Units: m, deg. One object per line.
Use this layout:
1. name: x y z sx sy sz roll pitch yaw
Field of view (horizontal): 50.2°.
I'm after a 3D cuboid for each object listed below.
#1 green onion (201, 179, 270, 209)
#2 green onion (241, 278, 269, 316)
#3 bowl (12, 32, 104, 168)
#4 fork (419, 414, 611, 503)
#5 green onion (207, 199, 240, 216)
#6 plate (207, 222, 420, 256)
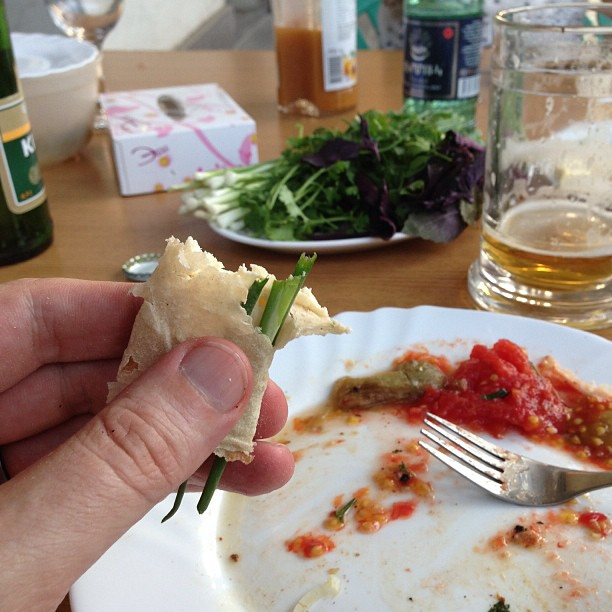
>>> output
1. green onion: -0.146 -0.208 1.284 0.148 0.063 0.113 -8 9 -14
2. green onion: -0.049 -0.009 0.604 0.015 0.046 0.004 34 25 -10
3. bowl: -0.619 -0.492 1.593 0.336 0.208 0.334 3 29 -1
4. fork: 0.237 0.194 0.784 0.224 0.038 0.095 16 30 32
5. green onion: -0.151 -0.184 1.211 0.021 0.019 0.070 21 32 37
6. plate: 0.008 -0.143 1.144 0.363 0.056 0.247 -7 13 -26
